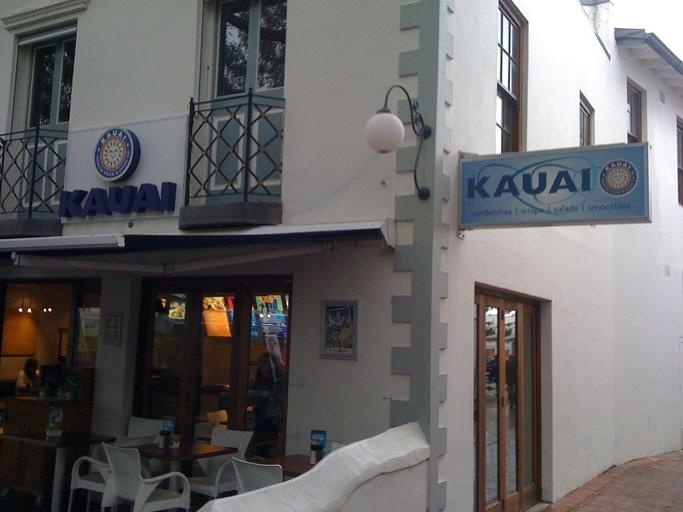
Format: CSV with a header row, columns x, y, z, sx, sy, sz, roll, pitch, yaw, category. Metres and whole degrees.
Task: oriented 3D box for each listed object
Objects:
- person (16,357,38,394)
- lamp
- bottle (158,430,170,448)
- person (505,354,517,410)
x,y,z,sx,sy,sz,roll,pitch,yaw,category
-6.111,2.314,12.211,0.373,0.643,0.997,4,-9,-28,person
0.679,-1.501,7.385,0.487,1.541,1.103,-2,-8,25,lamp
-2.399,2.445,8.470,0.167,0.236,0.187,-1,-8,3,bottle
2.720,1.976,10.155,0.185,0.218,1.068,-6,33,16,person
